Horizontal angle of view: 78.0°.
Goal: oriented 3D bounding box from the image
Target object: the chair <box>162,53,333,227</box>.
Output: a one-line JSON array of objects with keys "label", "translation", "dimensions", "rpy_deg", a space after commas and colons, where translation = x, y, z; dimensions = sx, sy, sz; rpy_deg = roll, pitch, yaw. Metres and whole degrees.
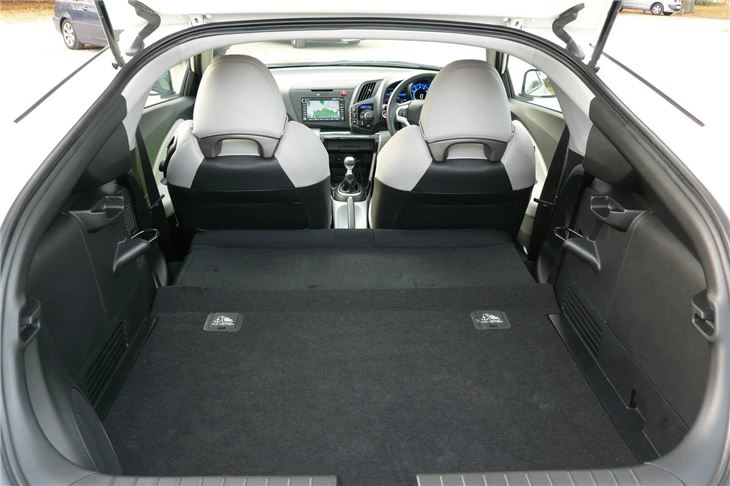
[{"label": "chair", "translation": [-0.513, -0.682, 2.796], "dimensions": [0.681, 1.087, 1.046], "rpy_deg": [1, 24, 4]}]
